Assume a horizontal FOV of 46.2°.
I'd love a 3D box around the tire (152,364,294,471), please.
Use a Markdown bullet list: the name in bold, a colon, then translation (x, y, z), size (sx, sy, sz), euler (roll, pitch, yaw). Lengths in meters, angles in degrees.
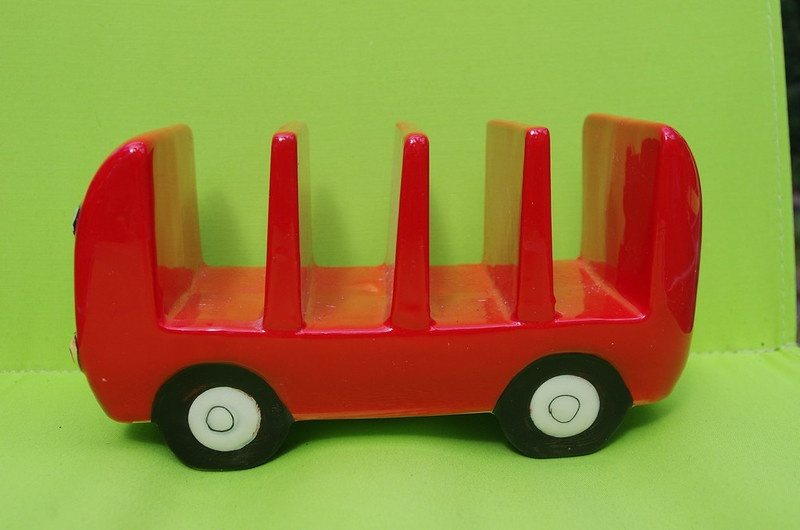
- **tire**: translation (-0.294, 0.266, 1.544), size (0.204, 0.204, 0.049), euler (-11, -34, -25)
